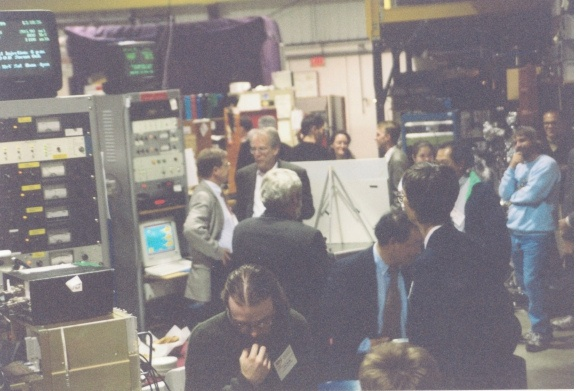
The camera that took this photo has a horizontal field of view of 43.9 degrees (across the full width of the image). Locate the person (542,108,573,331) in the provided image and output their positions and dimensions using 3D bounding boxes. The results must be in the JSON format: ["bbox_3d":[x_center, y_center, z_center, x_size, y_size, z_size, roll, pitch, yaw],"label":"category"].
[{"bbox_3d":[2.015,0.179,5.343,0.214,1.632,0.157,-1,9,18],"label":"person"}]

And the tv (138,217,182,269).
[{"bbox_3d":[-1.083,0.379,5.979,0.355,0.397,0.213,-11,0,-25],"label":"tv"}]

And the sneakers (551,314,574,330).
[{"bbox_3d":[2.051,0.944,5.371,0.150,0.096,0.052,-11,19,0],"label":"sneakers"}]

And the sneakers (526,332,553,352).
[{"bbox_3d":[1.876,1.091,5.366,0.190,0.076,0.119,3,0,-29],"label":"sneakers"}]

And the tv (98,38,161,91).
[{"bbox_3d":[-1.275,-1.062,5.864,0.439,0.384,0.424,0,10,-2],"label":"tv"}]

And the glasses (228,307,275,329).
[{"bbox_3d":[-0.282,0.932,5.442,0.203,0.167,0.234,-2,-8,2],"label":"glasses"}]

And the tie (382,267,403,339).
[{"bbox_3d":[0.769,0.803,5.401,0.151,0.541,0.045,-3,8,6],"label":"tie"}]
